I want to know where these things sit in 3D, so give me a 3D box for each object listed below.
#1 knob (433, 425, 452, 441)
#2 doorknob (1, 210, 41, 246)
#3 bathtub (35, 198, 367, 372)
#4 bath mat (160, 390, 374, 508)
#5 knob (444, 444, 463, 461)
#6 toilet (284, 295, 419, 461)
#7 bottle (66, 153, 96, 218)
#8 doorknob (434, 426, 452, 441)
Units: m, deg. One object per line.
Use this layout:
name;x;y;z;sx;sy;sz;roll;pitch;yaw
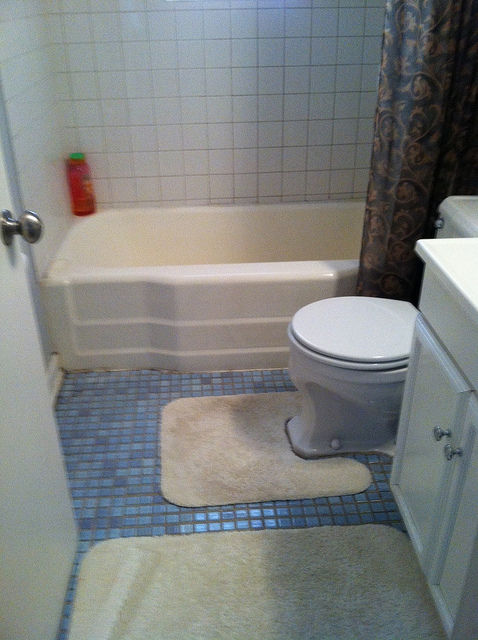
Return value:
knob;0.312;0.174;0.736;0.023;0.022;0.018;2;36;6
doorknob;-0.306;-0.128;0.673;0.051;0.056;0.061;-10;32;-17
bathtub;-0.197;-0.135;2.130;1.569;0.399;0.777;-1;34;-1
bath mat;0.090;0.389;1.398;0.529;0.093;0.397;-3;23;-8
knob;0.311;0.191;0.696;0.022;0.020;0.020;-2;34;6
toilet;0.291;0.169;1.495;0.465;0.452;0.452;-2;32;3
bottle;-0.744;-0.634;2.235;0.108;0.280;0.108;0;31;0
doorknob;0.311;0.174;0.734;0.024;0.022;0.015;-3;17;-1
